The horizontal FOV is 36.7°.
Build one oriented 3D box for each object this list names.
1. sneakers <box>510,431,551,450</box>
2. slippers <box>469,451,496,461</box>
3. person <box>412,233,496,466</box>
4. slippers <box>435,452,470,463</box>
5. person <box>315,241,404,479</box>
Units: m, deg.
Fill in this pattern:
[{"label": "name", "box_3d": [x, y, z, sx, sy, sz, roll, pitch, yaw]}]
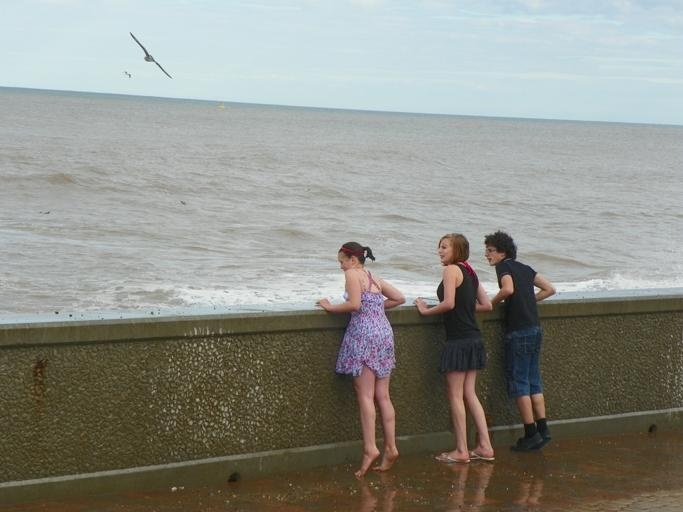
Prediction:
[{"label": "sneakers", "box_3d": [1.804, 1.782, 9.763, 0.423, 0.142, 0.143, -16, 15, 22]}, {"label": "slippers", "box_3d": [1.316, 1.873, 9.608, 0.233, 0.047, 0.086, -2, 0, 30]}, {"label": "person", "box_3d": [1.098, 0.857, 9.571, 0.745, 2.118, 0.427, 2, 9, 6]}, {"label": "slippers", "box_3d": [1.025, 1.882, 9.565, 0.291, 0.057, 0.101, 7, -8, -26]}, {"label": "person", "box_3d": [0.213, 0.930, 9.308, 0.528, 2.086, 0.559, -4, 10, -33]}]
